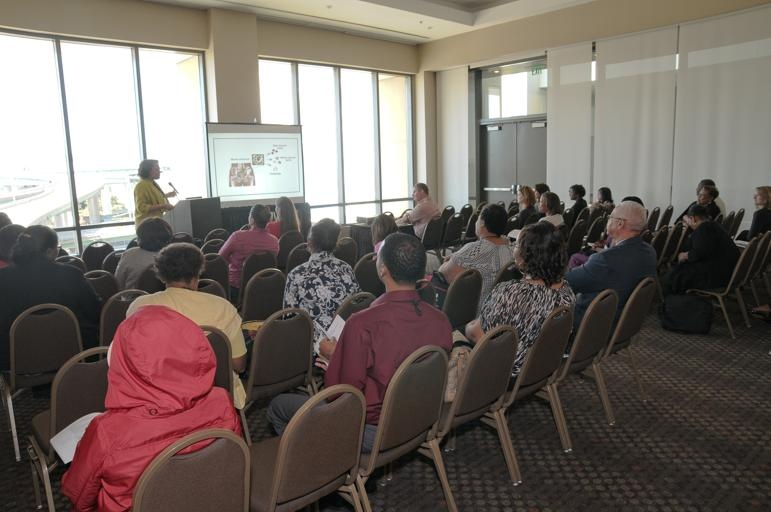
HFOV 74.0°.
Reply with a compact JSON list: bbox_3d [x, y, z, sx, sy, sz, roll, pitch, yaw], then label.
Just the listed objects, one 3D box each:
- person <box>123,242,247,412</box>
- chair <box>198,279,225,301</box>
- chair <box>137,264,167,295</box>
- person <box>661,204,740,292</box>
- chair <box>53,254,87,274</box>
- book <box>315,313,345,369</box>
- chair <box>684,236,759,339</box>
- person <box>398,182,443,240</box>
[{"bbox_3d":[-1.396,0.713,3.582,0.779,1.621,0.822,-2,3,-17],"label":"person"},{"bbox_3d":[-1.438,0.279,4.196,0.149,0.282,0.180,-8,13,-43],"label":"chair"},{"bbox_3d":[-1.994,0.204,4.340,0.151,0.232,0.162,25,33,32],"label":"chair"},{"bbox_3d":[3.678,0.076,6.010,0.557,1.313,0.788,-8,10,-27],"label":"person"},{"bbox_3d":[-3.071,0.081,4.974,0.118,0.150,0.171,1,56,-18],"label":"chair"},{"bbox_3d":[-0.353,0.558,3.375,0.080,0.326,0.312,18,-19,15],"label":"book"},{"bbox_3d":[3.930,0.256,5.894,0.544,0.997,1.234,8,16,36],"label":"chair"},{"bbox_3d":[0.572,-0.614,9.331,0.727,1.405,0.643,15,28,43],"label":"person"}]
